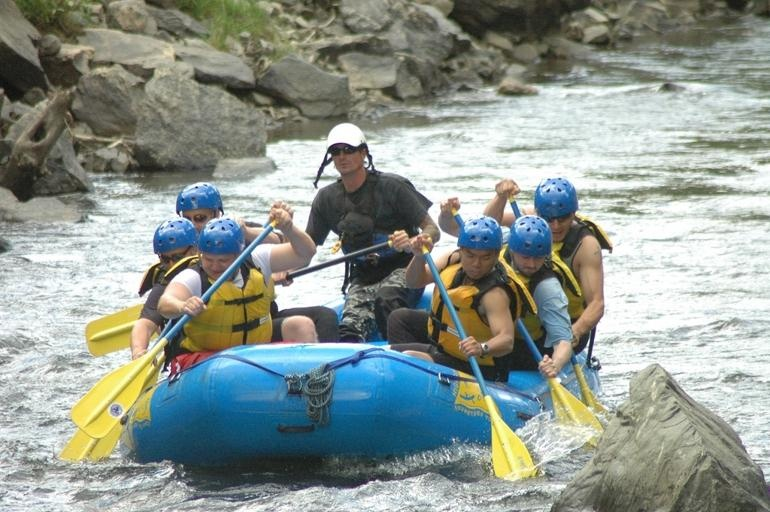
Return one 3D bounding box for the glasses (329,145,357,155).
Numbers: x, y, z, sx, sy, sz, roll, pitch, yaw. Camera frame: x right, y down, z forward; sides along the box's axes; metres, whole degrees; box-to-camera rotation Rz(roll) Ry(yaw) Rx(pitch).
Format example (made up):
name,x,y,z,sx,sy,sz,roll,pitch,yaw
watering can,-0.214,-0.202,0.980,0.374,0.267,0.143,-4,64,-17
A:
name,x,y,z,sx,sy,sz,roll,pitch,yaw
glasses,-0.552,-1.384,18.756,0.386,0.143,0.093,-2,14,-1
